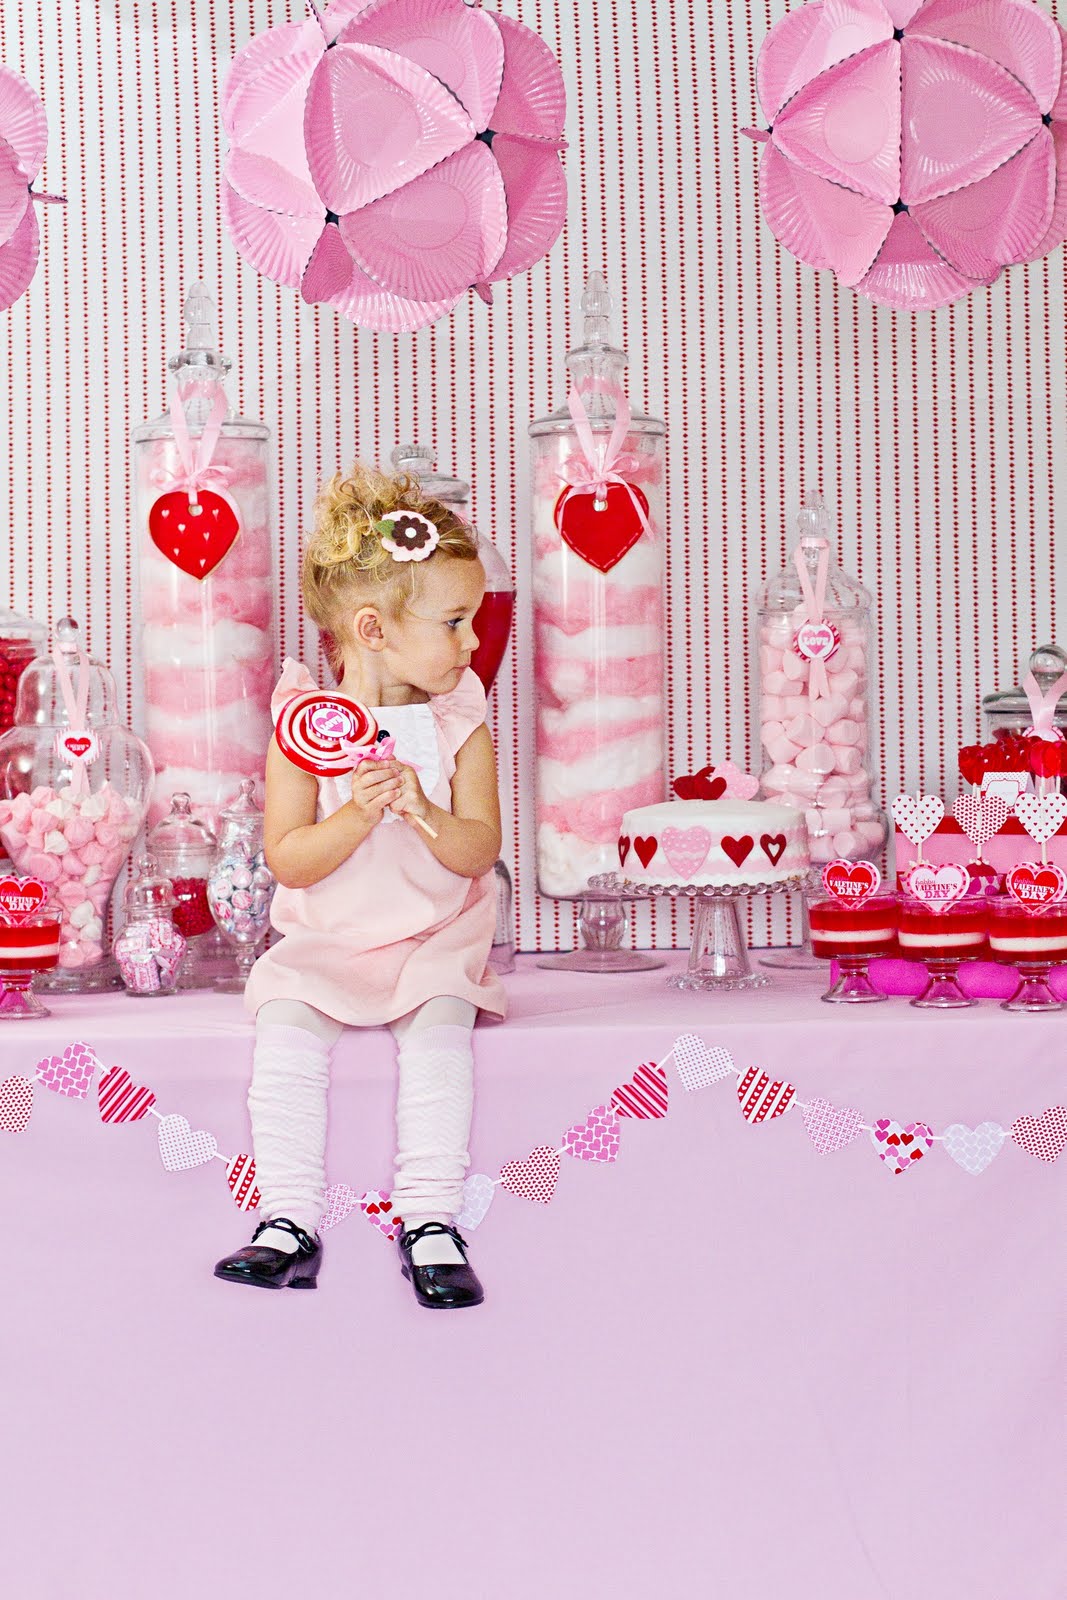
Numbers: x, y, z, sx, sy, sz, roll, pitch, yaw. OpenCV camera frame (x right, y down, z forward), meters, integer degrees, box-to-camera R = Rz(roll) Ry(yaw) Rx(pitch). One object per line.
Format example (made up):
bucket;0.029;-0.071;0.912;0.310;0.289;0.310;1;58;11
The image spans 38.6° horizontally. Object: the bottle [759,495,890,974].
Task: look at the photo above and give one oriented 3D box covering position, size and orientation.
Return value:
bottle;0.325;-0.127;1.764;0.139;0.477;0.204;-3;-15;8
